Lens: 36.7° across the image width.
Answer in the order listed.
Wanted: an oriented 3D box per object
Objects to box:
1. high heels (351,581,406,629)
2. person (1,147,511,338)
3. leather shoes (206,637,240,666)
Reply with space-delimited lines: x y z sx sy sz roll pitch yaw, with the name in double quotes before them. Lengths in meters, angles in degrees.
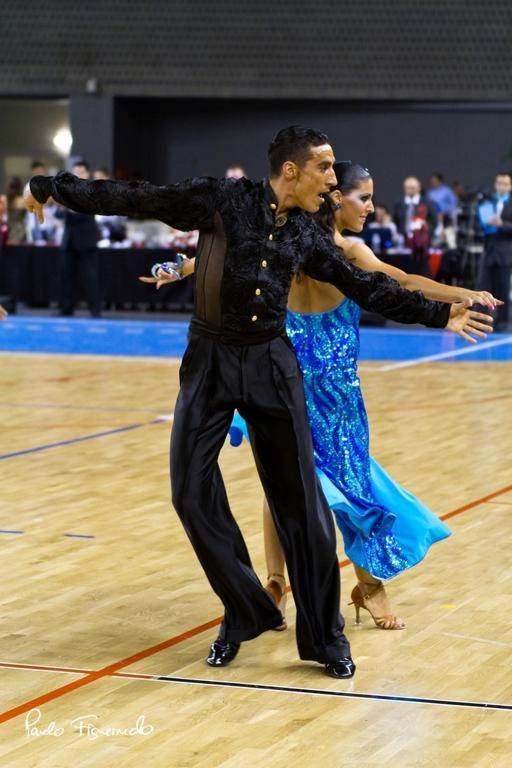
"high heels" 0.373 0.696 2.434 0.212 0.141 0.088 0 0 30
"person" 0.026 -0.357 1.999 1.146 0.505 0.309 -2 10 -13
"leather shoes" -0.090 0.725 2.083 0.041 0.042 0.111 -1 -3 11
